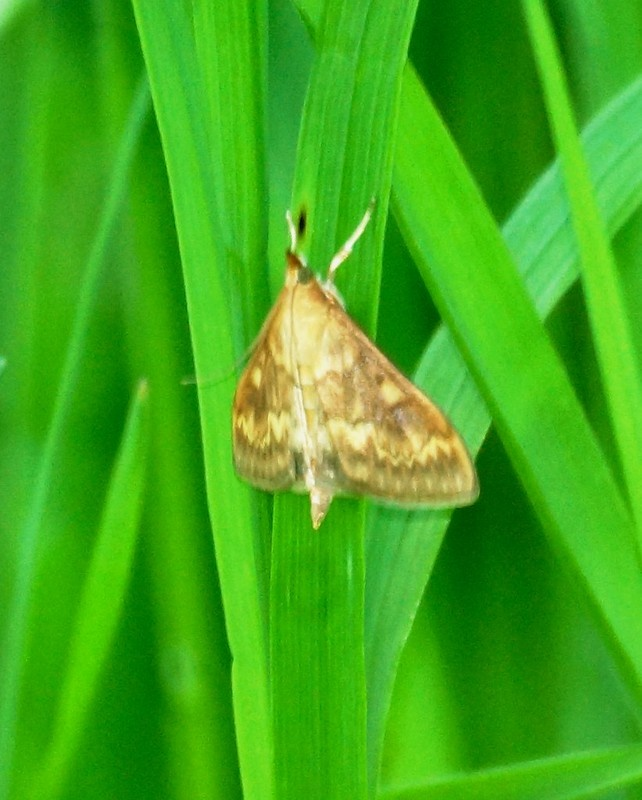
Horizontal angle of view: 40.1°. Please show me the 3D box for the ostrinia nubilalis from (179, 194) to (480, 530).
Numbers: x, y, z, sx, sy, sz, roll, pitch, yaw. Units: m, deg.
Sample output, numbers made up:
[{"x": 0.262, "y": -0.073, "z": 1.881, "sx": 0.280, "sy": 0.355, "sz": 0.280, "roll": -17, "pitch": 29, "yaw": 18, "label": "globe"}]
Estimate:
[{"x": 0.000, "y": -0.010, "z": 0.811, "sx": 0.282, "sy": 0.090, "sz": 0.353, "roll": 6, "pitch": -67, "yaw": 31, "label": "ostrinia nubilalis"}]
